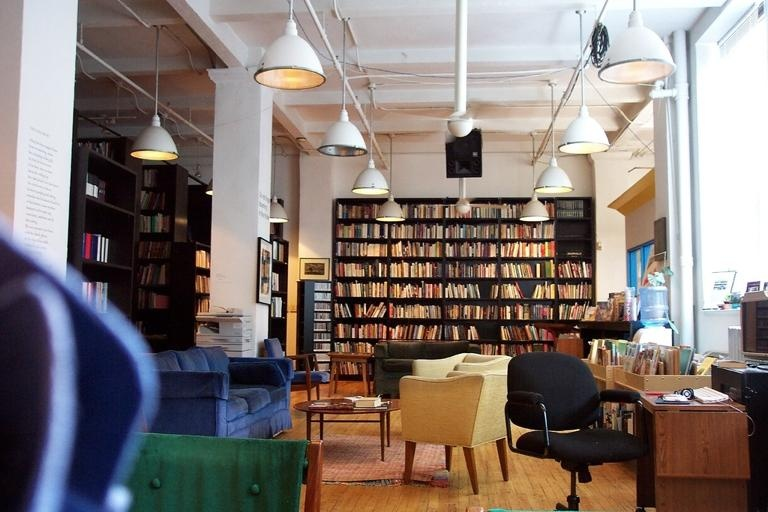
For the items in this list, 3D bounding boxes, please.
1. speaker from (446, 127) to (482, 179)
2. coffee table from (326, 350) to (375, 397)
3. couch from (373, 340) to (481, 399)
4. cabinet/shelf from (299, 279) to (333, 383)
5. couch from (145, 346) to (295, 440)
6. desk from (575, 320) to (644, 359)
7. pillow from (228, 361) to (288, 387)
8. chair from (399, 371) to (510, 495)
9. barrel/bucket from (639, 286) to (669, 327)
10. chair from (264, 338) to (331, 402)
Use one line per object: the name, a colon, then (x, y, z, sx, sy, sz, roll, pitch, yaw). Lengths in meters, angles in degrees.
speaker: (0.966, -1.258, 7.615, 0.412, 0.656, 0.417, 0, -11, -2)
coffee table: (-0.485, 1.689, 9.292, 0.650, 0.603, 0.633, -1, 1, 0)
couch: (0.599, 1.655, 9.190, 1.479, 0.904, 0.784, 1, -12, 2)
cabinet/shelf: (-1.174, 0.983, 11.054, 0.602, 1.882, 0.210, 3, 29, -1)
couch: (-1.363, 1.165, 5.405, 0.902, 0.840, 1.764, 0, -11, -2)
desk: (2.416, 0.898, 6.713, 0.216, 0.398, 0.679, 1, -3, -30)
pillow: (-1.278, 1.163, 6.239, 0.338, 0.124, 0.343, 2, 19, -3)
chair: (0.544, 1.218, 4.603, 0.653, 0.824, 0.653, 1, -1, 33)
barrel/bucket: (2.231, 0.403, 5.191, 0.214, 0.325, 0.235, 0, -11, 0)
chair: (-1.054, 1.400, 7.714, 0.745, 0.826, 0.669, -3, -4, -1)
